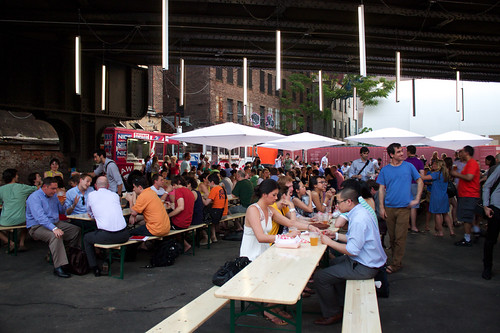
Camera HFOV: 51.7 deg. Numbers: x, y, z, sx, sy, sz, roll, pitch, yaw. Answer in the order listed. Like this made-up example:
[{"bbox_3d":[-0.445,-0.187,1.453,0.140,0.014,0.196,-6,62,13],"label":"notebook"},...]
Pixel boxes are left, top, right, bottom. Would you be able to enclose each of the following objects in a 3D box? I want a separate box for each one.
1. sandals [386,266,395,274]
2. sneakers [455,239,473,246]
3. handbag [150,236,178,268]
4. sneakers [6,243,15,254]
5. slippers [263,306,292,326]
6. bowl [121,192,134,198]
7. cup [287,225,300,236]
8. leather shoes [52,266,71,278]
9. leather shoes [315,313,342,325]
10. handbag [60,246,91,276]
[{"bbox_3d":[3.710,2.736,13.721,0.285,0.200,0.703,-1,-9,17],"label":"sandals"},{"bbox_3d":[6.522,2.360,15.861,0.508,0.251,0.231,1,-3,21],"label":"sneakers"},{"bbox_3d":[-2.411,2.407,14.433,0.734,0.817,0.638,-12,-13,37],"label":"handbag"},{"bbox_3d":[-7.021,2.419,15.144,0.176,0.190,0.509,2,-11,-12],"label":"sneakers"},{"bbox_3d":[0.625,3.330,11.653,0.386,0.265,0.590,-9,9,-43],"label":"slippers"},{"bbox_3d":[-3.788,0.880,15.966,0.362,0.192,0.265,-5,-5,44],"label":"bowl"},{"bbox_3d":[1.026,1.546,12.212,0.185,0.174,0.212,1,-7,-8],"label":"cup"},{"bbox_3d":[-4.925,2.759,13.546,0.506,0.220,0.208,4,-1,13],"label":"leather shoes"},{"bbox_3d":[1.758,3.436,11.683,0.643,0.275,0.258,1,-2,-12],"label":"leather shoes"},{"bbox_3d":[-4.594,2.514,13.618,0.704,0.664,0.306,2,4,33],"label":"handbag"}]
